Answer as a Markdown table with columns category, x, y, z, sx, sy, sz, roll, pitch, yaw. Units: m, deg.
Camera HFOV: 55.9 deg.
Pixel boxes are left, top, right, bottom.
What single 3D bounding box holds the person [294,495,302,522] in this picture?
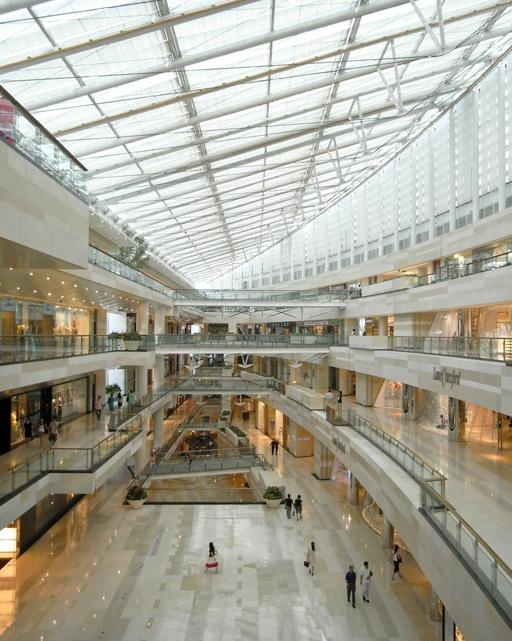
| category | x | y | z | sx | sy | sz | roll | pitch | yaw |
| --- | --- | --- | --- | --- | --- | --- | --- | --- | --- |
| person | 1.704 | 7.508 | 19.552 | 0.300 | 0.746 | 0.967 | 2 | -1 | 4 |

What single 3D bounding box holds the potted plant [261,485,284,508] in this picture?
| category | x | y | z | sx | sy | sz | roll | pitch | yaw |
| --- | --- | --- | --- | --- | --- | --- | --- | --- | --- |
| potted plant | 0.737 | 7.597 | 20.733 | 0.753 | 0.752 | 0.758 | 1 | -2 | 31 |

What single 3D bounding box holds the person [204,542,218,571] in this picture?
| category | x | y | z | sx | sy | sz | roll | pitch | yaw |
| --- | --- | --- | --- | --- | --- | --- | --- | --- | --- |
| person | -1.407 | 7.380 | 15.550 | 0.423 | 0.795 | 1.272 | 2 | -1 | -4 |

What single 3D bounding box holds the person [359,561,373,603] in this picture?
| category | x | y | z | sx | sy | sz | roll | pitch | yaw |
| --- | --- | --- | --- | --- | --- | --- | --- | --- | --- |
| person | 3.238 | 7.396 | 14.165 | 0.327 | 0.878 | 1.331 | 2 | -1 | 14 |

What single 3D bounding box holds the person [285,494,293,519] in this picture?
| category | x | y | z | sx | sy | sz | roll | pitch | yaw |
| --- | --- | --- | --- | --- | --- | --- | --- | --- | --- |
| person | 1.322 | 7.456 | 19.403 | 0.246 | 0.780 | 0.468 | 2 | -1 | 0 |

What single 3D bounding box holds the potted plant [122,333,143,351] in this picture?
| category | x | y | z | sx | sy | sz | roll | pitch | yaw |
| --- | --- | --- | --- | --- | --- | --- | --- | --- | --- |
| potted plant | -6.028 | 1.051 | 23.497 | 0.778 | 0.619 | 0.723 | -3 | -3 | 24 |

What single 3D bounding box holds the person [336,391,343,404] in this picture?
| category | x | y | z | sx | sy | sz | roll | pitch | yaw |
| --- | --- | --- | --- | --- | --- | --- | --- | --- | --- |
| person | 4.902 | 4.505 | 28.235 | 0.289 | 1.030 | 0.395 | -9 | -15 | 33 |

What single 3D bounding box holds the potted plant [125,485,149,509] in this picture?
| category | x | y | z | sx | sy | sz | roll | pitch | yaw |
| --- | --- | --- | --- | --- | --- | --- | --- | --- | --- |
| potted plant | -5.118 | 7.378 | 20.291 | 0.940 | 0.920 | 0.690 | 2 | -1 | 27 |
